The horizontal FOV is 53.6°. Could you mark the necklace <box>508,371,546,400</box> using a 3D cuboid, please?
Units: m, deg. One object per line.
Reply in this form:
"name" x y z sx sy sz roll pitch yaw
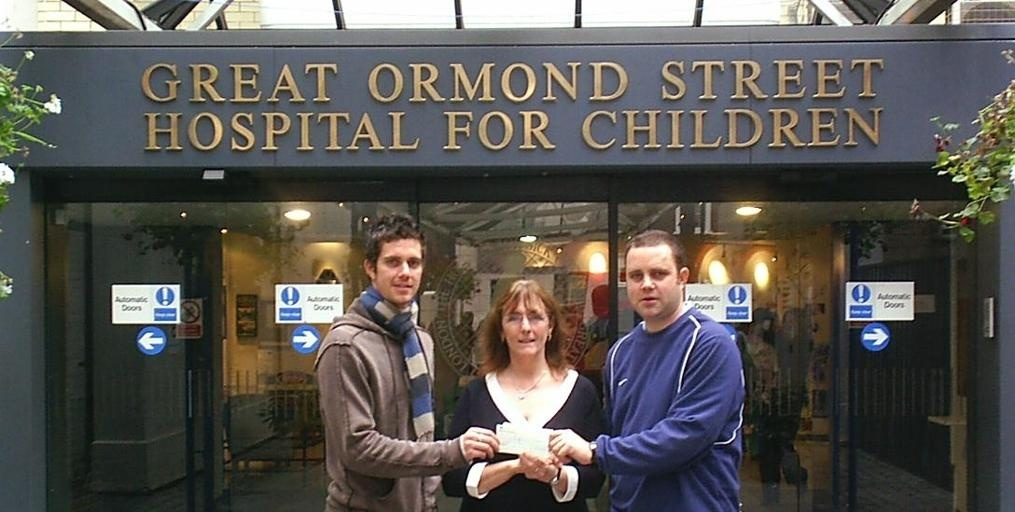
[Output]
"necklace" 0.222 1.638 12.524 0.358 0.304 0.094 -5 -46 26
